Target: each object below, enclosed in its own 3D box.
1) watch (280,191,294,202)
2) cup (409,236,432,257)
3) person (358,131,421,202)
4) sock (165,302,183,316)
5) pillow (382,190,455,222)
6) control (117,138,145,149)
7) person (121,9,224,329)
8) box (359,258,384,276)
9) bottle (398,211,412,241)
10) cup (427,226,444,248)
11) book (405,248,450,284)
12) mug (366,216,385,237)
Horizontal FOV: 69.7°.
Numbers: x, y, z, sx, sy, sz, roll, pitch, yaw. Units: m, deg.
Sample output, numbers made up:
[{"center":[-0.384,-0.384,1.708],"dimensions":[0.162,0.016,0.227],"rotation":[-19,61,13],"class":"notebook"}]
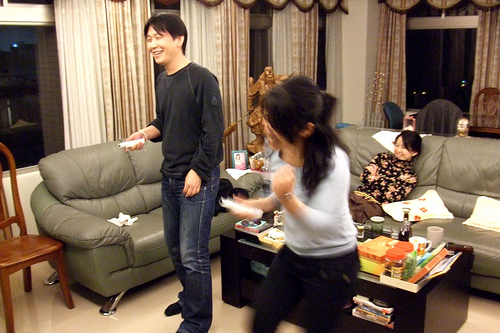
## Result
[{"center":[0.144,0.119,1.430],"dimensions":[0.045,0.025,0.011],"rotation":[-36,4,-3],"class":"watch"},{"center":[1.208,0.568,2.561],"dimensions":[0.164,0.115,0.108],"rotation":[0,1,18],"class":"cup"},{"center":[1.405,0.034,3.664],"dimensions":[0.487,0.759,0.544],"rotation":[-18,32,-42],"class":"person"},{"center":[-0.613,1.137,2.855],"dimensions":[0.137,0.054,0.070],"rotation":[-11,18,-41],"class":"sock"},{"center":[1.571,0.362,3.379],"dimensions":[0.617,0.207,0.313],"rotation":[-1,15,-5],"class":"pillow"},{"center":[-0.825,-0.154,2.421],"dimensions":[0.127,0.045,0.235],"rotation":[5,16,19],"class":"control"},{"center":[-0.478,0.042,2.481],"dimensions":[0.599,2.089,0.440],"rotation":[11,19,36],"class":"person"},{"center":[0.804,0.675,2.407],"dimensions":[0.132,0.059,0.095],"rotation":[8,11,43],"class":"box"},{"center":[1.165,0.439,2.704],"dimensions":[0.083,0.223,0.080],"rotation":[0,15,0],"class":"bottle"},{"center":[1.417,0.545,2.755],"dimensions":[0.111,0.130,0.141],"rotation":[0,2,10],"class":"cup"},{"center":[1.146,0.660,2.354],"dimensions":[0.294,0.091,0.360],"rotation":[17,28,25],"class":"book"},{"center":[1.002,0.486,2.959],"dimensions":[0.182,0.168,0.125],"rotation":[-1,10,8],"class":"mug"}]
